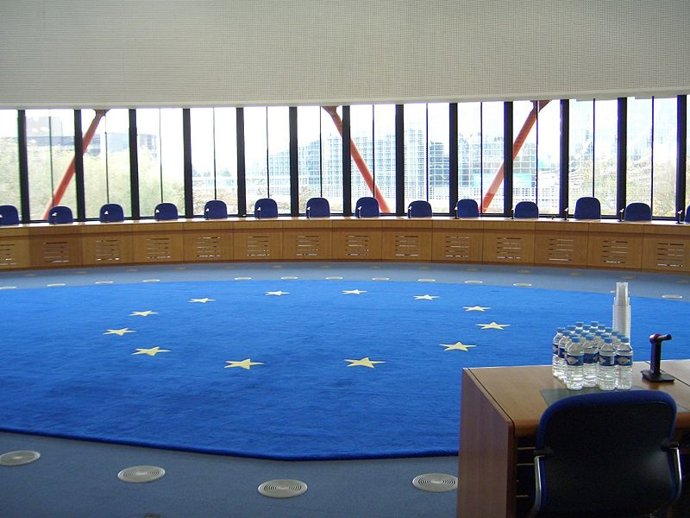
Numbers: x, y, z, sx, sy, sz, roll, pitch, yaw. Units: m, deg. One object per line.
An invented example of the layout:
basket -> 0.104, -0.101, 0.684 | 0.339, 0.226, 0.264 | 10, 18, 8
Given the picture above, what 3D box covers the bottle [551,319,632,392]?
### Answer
bottle -> 1.027, 0.407, 2.317 | 0.337, 0.188, 0.286 | 0, 1, 1
